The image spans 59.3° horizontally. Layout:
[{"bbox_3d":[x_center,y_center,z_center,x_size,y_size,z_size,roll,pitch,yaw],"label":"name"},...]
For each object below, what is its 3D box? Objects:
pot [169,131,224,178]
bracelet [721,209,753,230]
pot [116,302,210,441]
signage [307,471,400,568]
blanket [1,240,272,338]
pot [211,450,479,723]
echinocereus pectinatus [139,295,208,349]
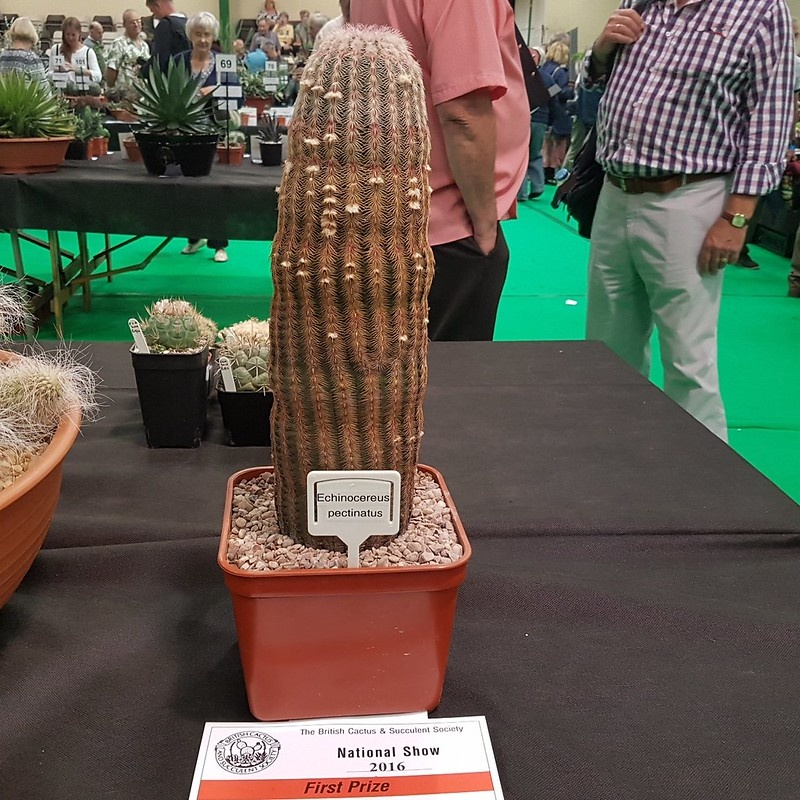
[{"bbox_3d":[-0.851,-1.028,2.936,0.189,0.118,0.179,1,25,0],"label":"pot"},{"bbox_3d":[0.895,-0.473,1.865,0.055,0.024,0.052,15,-8,11],"label":"bracelet"},{"bbox_3d":[-0.401,-0.041,1.192,0.165,0.226,0.240,-1,17,-5],"label":"pot"},{"bbox_3d":[-0.044,0.111,0.678,0.111,0.097,0.011,1,20,0],"label":"signage"},{"bbox_3d":[-1.272,-0.544,3.375,0.765,0.238,1.058,3,19,2],"label":"blanket"},{"bbox_3d":[-0.055,0.184,0.725,0.192,0.122,0.212,1,19,0],"label":"pot"},{"bbox_3d":[-0.385,-0.125,1.219,0.123,0.056,0.123,5,4,-3],"label":"echinocereus pectinatus"}]
